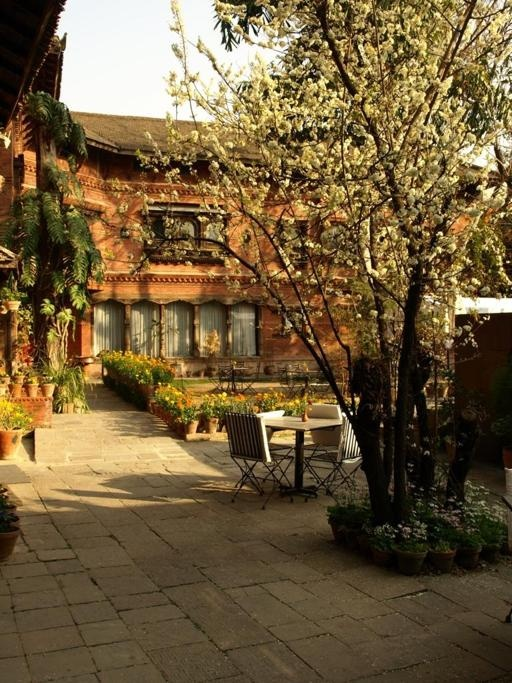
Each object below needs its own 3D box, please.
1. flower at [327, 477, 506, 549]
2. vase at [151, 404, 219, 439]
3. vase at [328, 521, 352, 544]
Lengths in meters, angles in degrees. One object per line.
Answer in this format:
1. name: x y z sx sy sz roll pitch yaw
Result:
1. flower: 1.636 1.644 5.414 1.572 0.403 1.114 1 -2 -21
2. vase: -1.556 1.678 12.280 0.500 0.327 2.092 1 2 -21
3. vase: 0.803 1.810 5.459 0.210 0.153 0.208 3 -4 -12
